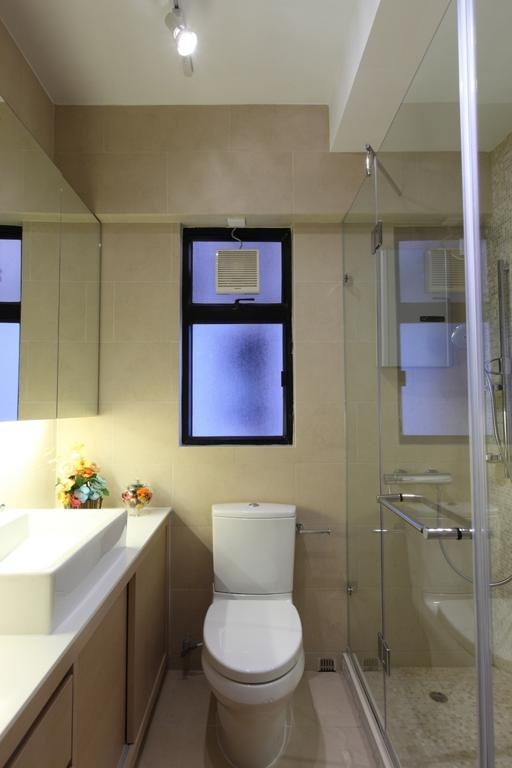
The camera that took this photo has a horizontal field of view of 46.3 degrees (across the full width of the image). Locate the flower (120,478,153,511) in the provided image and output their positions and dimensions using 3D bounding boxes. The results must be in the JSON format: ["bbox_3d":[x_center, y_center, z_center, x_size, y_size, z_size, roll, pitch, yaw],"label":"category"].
[{"bbox_3d":[-0.483,0.429,2.429,0.100,0.153,0.105,-1,4,-29],"label":"flower"}]

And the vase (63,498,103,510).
[{"bbox_3d":[-0.670,0.463,2.325,0.138,0.052,0.061,-2,-1,-29],"label":"vase"}]

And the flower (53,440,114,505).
[{"bbox_3d":[-0.714,0.391,2.402,0.201,0.194,0.239,4,5,8],"label":"flower"}]
